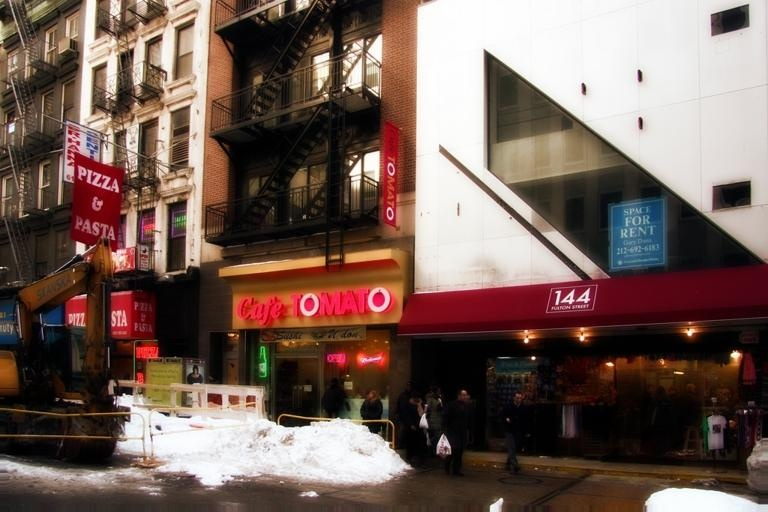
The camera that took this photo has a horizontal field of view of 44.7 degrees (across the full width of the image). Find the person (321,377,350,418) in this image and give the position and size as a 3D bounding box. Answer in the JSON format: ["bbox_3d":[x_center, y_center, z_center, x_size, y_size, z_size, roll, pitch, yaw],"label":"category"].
[{"bbox_3d":[-1.821,5.415,35.954,1.023,1.528,0.583,-1,-10,9],"label":"person"}]

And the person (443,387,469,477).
[{"bbox_3d":[2.541,5.929,31.488,0.812,2.824,1.149,0,-10,5],"label":"person"}]

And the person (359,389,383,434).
[{"bbox_3d":[-0.406,5.756,34.249,0.719,2.092,0.551,9,33,11],"label":"person"}]

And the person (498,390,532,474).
[{"bbox_3d":[4.563,6.024,31.870,0.736,2.672,0.891,3,-10,-14],"label":"person"}]
